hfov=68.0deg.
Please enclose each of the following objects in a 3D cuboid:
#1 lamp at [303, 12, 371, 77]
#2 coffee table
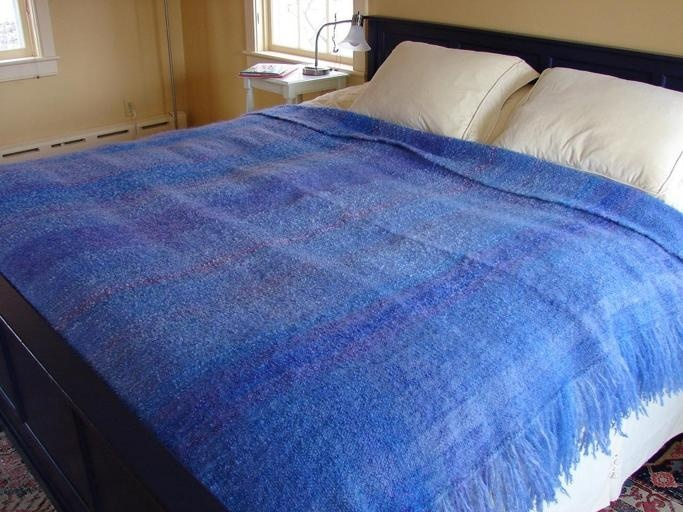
[{"bbox_3d":[0.032,-1.409,3.341,0.512,0.425,0.287,24,38,34],"label":"lamp"},{"bbox_3d":[-0.321,-1.293,3.427,0.457,0.451,0.458,-22,38,-32],"label":"coffee table"}]
